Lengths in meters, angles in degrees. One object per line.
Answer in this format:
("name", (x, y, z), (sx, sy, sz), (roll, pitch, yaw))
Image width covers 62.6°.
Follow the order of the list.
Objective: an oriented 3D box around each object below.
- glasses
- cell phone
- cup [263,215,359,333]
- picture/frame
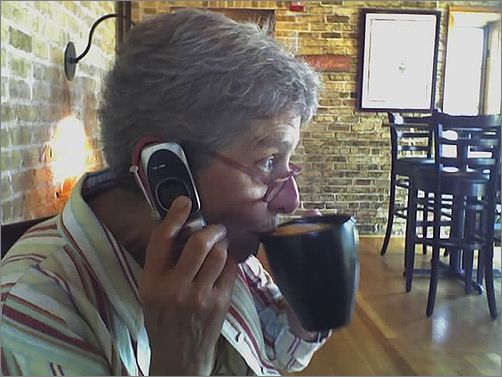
("glasses", (0.013, -0.017, 0.513), (0.080, 0.024, 0.060), (35, 13, -9))
("cell phone", (-0.089, 0.019, 0.477), (0.042, 0.145, 0.069), (7, 12, 42))
("cup", (0.087, 0.105, 0.588), (0.127, 0.146, 0.136), (-21, -2, -1))
("picture/frame", (0.222, -0.201, 0.631), (0.157, 0.197, 0.013), (1, 0, 2))
